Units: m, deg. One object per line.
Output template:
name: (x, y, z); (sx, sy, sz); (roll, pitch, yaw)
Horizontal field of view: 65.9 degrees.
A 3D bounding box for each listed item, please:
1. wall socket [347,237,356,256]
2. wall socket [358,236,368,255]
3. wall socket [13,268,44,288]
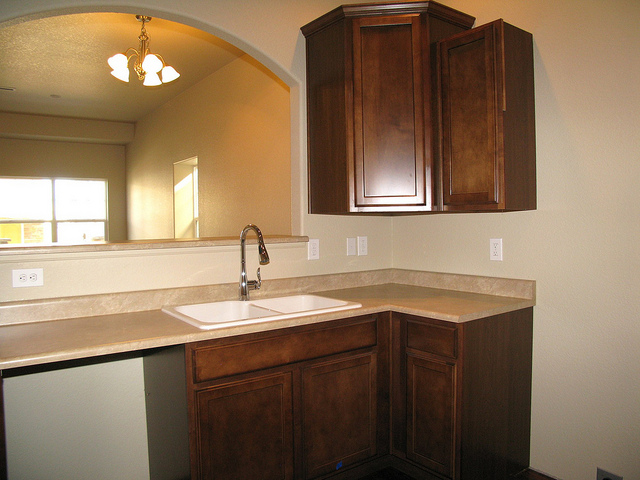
wall socket: (0.224, 0.044, 3.576); (0.112, 0.164, 0.016); (7, -10, -43)
wall socket: (0.308, 0.037, 3.627); (0.119, 0.177, 0.017); (5, -9, -39)
wall socket: (-1.551, 0.199, 2.620); (0.096, 0.092, 0.017); (1, 1, -29)
